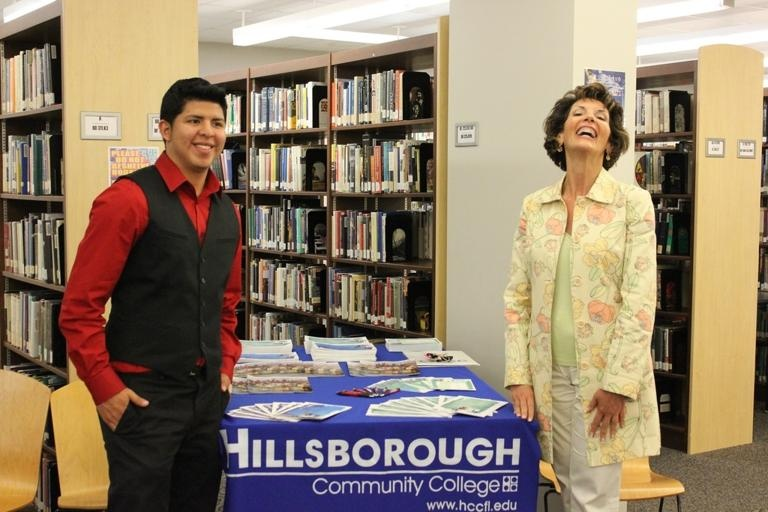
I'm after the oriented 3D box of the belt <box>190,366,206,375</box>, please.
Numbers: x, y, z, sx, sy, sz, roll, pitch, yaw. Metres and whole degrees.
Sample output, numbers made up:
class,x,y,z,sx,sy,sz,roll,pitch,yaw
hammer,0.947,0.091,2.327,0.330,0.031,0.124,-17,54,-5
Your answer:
class,x,y,z,sx,sy,sz,roll,pitch,yaw
belt,-0.807,0.498,2.886,0.042,0.026,0.055,3,-6,-8

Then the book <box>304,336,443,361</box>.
class,x,y,z,sx,sy,sz,roll,pitch,yaw
book,-0.100,0.544,3.946,0.417,0.069,0.297,1,1,-19
